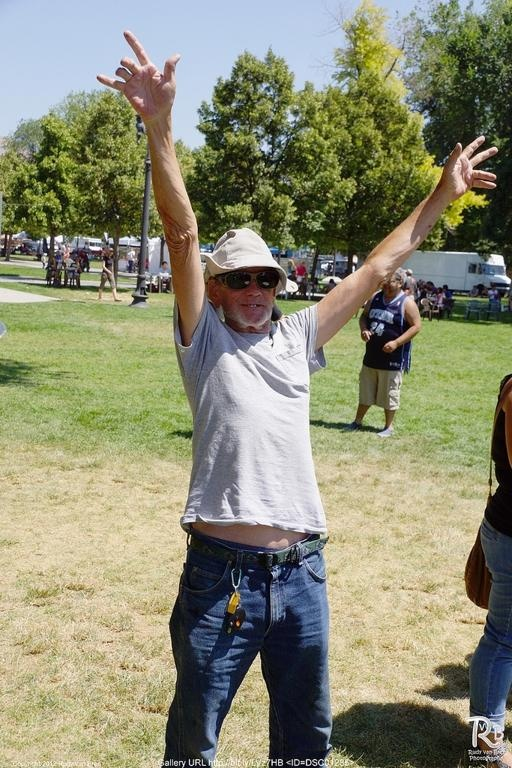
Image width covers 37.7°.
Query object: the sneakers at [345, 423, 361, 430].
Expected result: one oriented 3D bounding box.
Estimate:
[{"bbox_3d":[1.183,0.508,9.093,0.215,0.091,0.078,-4,1,23],"label":"sneakers"}]
